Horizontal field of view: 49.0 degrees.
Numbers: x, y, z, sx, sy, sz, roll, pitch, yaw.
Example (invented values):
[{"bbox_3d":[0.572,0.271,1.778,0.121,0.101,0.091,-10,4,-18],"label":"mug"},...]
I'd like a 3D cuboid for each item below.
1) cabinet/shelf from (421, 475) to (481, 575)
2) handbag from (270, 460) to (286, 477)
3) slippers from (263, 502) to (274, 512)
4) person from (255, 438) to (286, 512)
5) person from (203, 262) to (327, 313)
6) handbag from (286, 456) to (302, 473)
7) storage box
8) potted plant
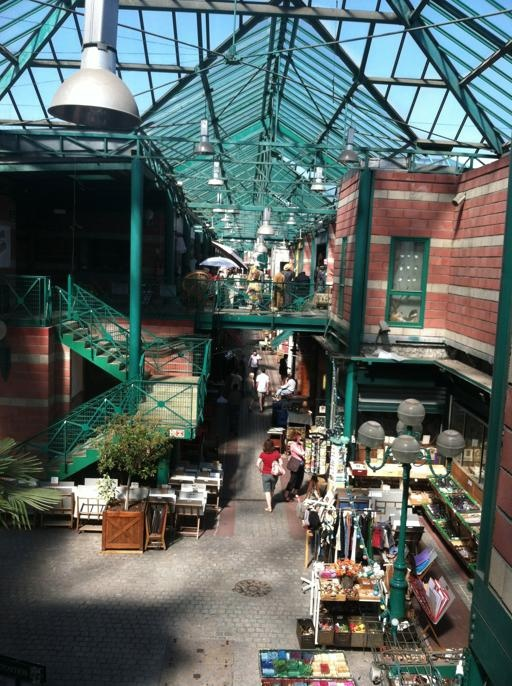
[{"bbox_3d":[3.925,3.393,11.215,0.699,0.756,3.285,2,4,4],"label":"cabinet/shelf"},{"bbox_3d":[0.449,2.709,12.052,0.250,0.459,0.456,3,4,2],"label":"handbag"},{"bbox_3d":[0.262,3.665,12.485,0.239,0.228,0.111,6,5,25],"label":"slippers"},{"bbox_3d":[0.297,2.859,12.221,0.628,1.548,0.498,-2,10,-13],"label":"person"},{"bbox_3d":[0.332,-1.468,17.903,3.720,1.002,1.029,2,4,-6],"label":"person"},{"bbox_3d":[0.859,2.806,12.805,0.271,0.467,0.356,4,4,22],"label":"handbag"},{"bbox_3d":[1.226,3.684,7.812,1.047,0.430,1.043,-1,20,3],"label":"storage box"},{"bbox_3d":[-2.465,2.551,10.984,1.343,2.420,1.890,2,4,-15],"label":"potted plant"}]
